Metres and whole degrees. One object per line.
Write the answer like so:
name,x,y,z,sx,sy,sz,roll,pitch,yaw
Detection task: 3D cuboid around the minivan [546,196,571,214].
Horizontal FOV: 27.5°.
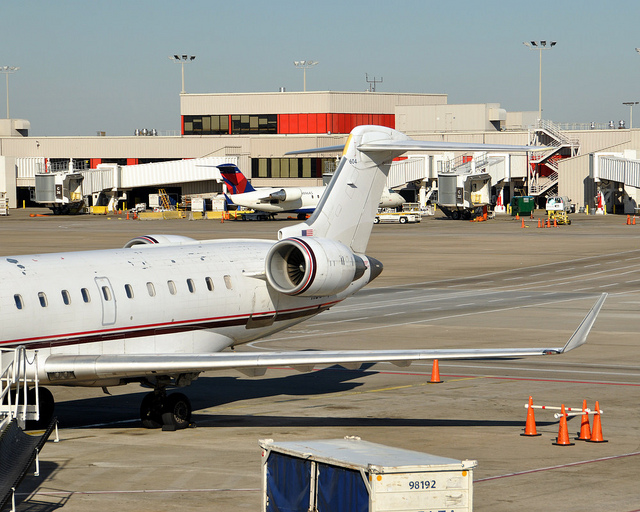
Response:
minivan,19.027,-4.023,104.731,1.514,0.883,3.630,2,9,17

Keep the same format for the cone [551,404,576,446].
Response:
cone,5.625,3.886,30.067,0.515,0.900,0.561,0,3,25

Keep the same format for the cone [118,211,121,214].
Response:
cone,-19.784,-4.231,129.933,0.233,0.252,0.117,3,-14,37

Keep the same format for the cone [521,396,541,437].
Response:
cone,4.969,3.811,30.792,0.438,0.816,0.691,-1,2,11

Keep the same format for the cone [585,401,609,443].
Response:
cone,6.439,3.837,30.289,0.528,0.890,0.717,0,3,20

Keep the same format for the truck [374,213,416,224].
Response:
truck,6.105,-3.065,104.790,3.749,0.653,1.971,0,4,8

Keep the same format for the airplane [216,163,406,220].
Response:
airplane,-2.110,-4.923,107.862,10.358,2.352,7.768,-1,13,0
